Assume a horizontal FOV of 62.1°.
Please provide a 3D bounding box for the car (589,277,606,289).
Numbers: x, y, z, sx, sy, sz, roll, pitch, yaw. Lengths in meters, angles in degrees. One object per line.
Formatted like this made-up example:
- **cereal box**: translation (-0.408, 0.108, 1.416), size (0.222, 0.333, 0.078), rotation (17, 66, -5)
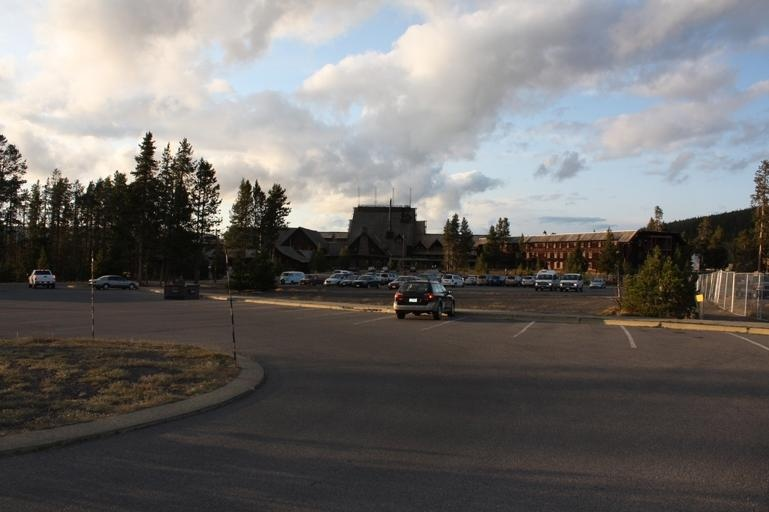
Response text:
- **car**: translation (26.718, 3.551, 80.349), size (1.817, 1.232, 3.018), rotation (-2, -3, 17)

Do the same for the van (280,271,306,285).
- **van**: translation (-11.640, 2.729, 80.621), size (3.023, 1.473, 1.747), rotation (4, -5, -35)

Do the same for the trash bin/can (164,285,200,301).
- **trash bin/can**: translation (-14.384, 2.579, 45.146), size (1.350, 0.632, 1.424), rotation (1, 0, 28)
